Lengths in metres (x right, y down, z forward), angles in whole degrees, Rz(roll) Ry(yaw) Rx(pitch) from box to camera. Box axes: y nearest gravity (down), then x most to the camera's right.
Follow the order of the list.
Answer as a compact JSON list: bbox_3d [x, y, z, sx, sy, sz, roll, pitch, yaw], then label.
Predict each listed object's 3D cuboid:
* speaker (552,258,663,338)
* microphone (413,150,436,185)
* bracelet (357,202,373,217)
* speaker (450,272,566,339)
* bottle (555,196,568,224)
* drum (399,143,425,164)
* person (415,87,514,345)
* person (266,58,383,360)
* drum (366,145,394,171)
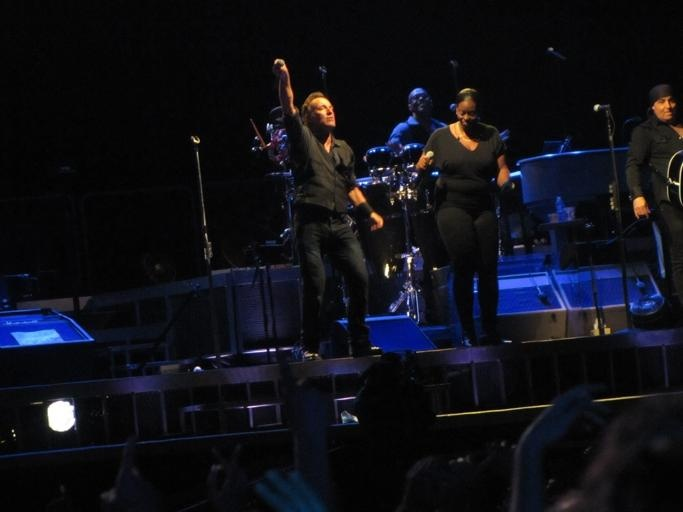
[{"bbox_3d":[2.564,0.371,7.160,1.211,0.795,0.637,-3,-7,-11],"label":"speaker"},{"bbox_3d":[0.656,-0.675,5.782,0.089,0.098,0.336,9,-52,-14],"label":"microphone"},{"bbox_3d":[0.200,-0.383,5.968,0.122,0.115,0.107,-33,6,2],"label":"bracelet"},{"bbox_3d":[1.813,0.453,6.970,0.742,0.456,0.704,-4,30,8],"label":"speaker"},{"bbox_3d":[2.360,-0.502,7.745,0.128,0.249,0.194,-7,-7,17],"label":"bottle"},{"bbox_3d":[0.750,-1.054,7.669,0.242,0.166,0.244,-13,2,1],"label":"drum"},{"bbox_3d":[1.007,-0.304,5.707,0.720,1.997,0.339,-6,-7,3],"label":"person"},{"bbox_3d":[-0.145,-0.271,5.673,0.924,2.119,0.401,1,-9,-45],"label":"person"},{"bbox_3d":[0.435,-1.051,7.907,0.274,0.241,0.256,-9,5,17],"label":"drum"}]
